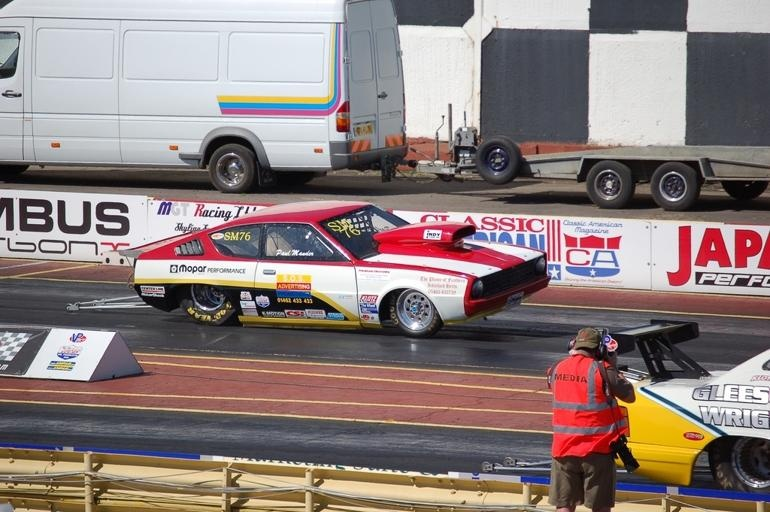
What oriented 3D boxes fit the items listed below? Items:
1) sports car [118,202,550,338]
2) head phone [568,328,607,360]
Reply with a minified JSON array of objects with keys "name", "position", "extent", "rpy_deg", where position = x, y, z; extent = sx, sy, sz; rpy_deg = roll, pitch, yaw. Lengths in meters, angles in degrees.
[{"name":"sports car","position":[-0.952,0.351,27.654],"extent":[6.383,1.381,2.709],"rpy_deg":[-1,8,16]},{"name":"head phone","position":[2.843,1.119,21.557],"extent":[0.499,0.245,0.569],"rpy_deg":[2,18,21]}]
